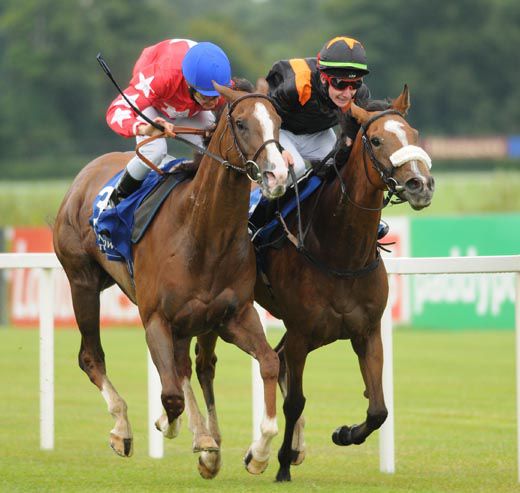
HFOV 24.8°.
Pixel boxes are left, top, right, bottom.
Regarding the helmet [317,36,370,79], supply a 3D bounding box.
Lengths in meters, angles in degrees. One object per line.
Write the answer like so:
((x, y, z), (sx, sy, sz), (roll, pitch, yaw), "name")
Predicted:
((0.535, -1.207, 7.474), (0.361, 0.218, 0.473), (1, 9, -7), "helmet")

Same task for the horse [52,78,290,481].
((-0.537, 0.319, 7.620), (0.900, 2.482, 3.291), (-2, 1, -25), "horse")

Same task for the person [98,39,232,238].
((-0.531, -0.788, 7.780), (0.951, 1.110, 2.015), (-9, 9, 8), "person")

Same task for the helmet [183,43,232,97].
((-0.342, -1.096, 7.302), (0.245, 0.356, 0.185), (-20, -16, -14), "helmet")

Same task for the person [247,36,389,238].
((0.361, -0.815, 8.055), (0.698, 1.179, 1.593), (4, -10, -23), "person")
